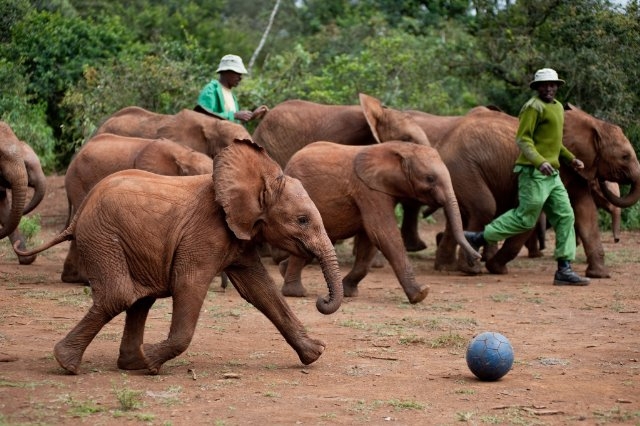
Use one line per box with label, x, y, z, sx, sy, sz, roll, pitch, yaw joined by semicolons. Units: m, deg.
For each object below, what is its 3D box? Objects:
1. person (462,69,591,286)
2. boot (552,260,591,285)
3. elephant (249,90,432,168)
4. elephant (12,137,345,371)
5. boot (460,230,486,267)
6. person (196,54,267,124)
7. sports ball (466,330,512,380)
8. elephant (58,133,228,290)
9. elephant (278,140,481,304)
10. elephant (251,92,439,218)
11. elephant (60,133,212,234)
person;3.100;-0.493;11.465;1.573;3.055;0.814;-4;14;-13
boot;3.627;0.859;11.728;0.612;0.356;0.210;4;3;-8
elephant;0.330;-1.035;13.148;3.234;1.554;1.247;2;3;-3
elephant;-1.544;0.519;8.581;3.613;2.068;1.389;-2;-7;-7
boot;2.249;0.511;11.807;0.196;0.631;0.249;-31;56;-29
person;-1.348;-1.689;12.319;1.127;1.286;1.049;6;12;0
sports ball;1.726;1.399;8.297;0.477;0.488;0.464;-20;13;5
elephant;-2.422;-0.254;11.962;2.742;1.781;1.249;-2;15;11
elephant;0.726;0.146;11.197;2.785;2.131;1.623;1;1;26
elephant;0.470;-0.924;13.138;3.411;1.714;1.427;1;5;0
elephant;-2.564;-0.342;11.880;3.053;1.452;1.191;1;16;8
